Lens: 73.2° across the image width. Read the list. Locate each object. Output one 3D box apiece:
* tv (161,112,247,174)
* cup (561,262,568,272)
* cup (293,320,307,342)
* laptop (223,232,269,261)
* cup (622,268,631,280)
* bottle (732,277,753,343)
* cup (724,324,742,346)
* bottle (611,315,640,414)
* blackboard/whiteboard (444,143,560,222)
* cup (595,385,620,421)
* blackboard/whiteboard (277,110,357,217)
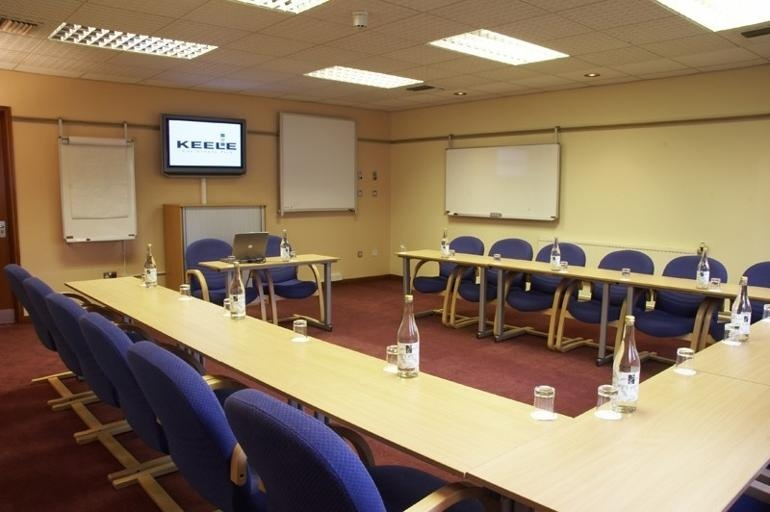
[{"bbox_3d":[-2.690,-1.636,7.576,1.109,0.688,0.106,-2,2,-41],"label":"tv"},{"bbox_3d":[2.033,0.126,5.845,0.105,0.108,0.100,-1,1,0],"label":"cup"},{"bbox_3d":[-0.578,0.501,3.569,0.097,0.139,0.169,-1,8,-11],"label":"cup"},{"bbox_3d":[-1.640,-0.114,6.250,0.449,0.311,0.347,0,7,-38],"label":"laptop"},{"bbox_3d":[2.537,0.198,5.424,0.124,0.168,0.114,1,-2,0],"label":"cup"},{"bbox_3d":[2.544,0.357,3.664,0.118,0.415,0.402,7,10,35],"label":"bottle"},{"bbox_3d":[2.382,0.534,3.521,0.115,0.119,0.138,3,8,18],"label":"cup"},{"bbox_3d":[1.296,0.549,2.741,0.136,0.478,0.278,5,10,26],"label":"bottle"},{"bbox_3d":[1.934,-1.156,8.183,1.432,0.813,0.142,5,9,40],"label":"blackboard/whiteboard"},{"bbox_3d":[1.158,0.750,2.694,0.173,0.153,0.156,1,6,20],"label":"cup"},{"bbox_3d":[-1.186,-1.574,8.734,2.009,1.989,0.284,-3,5,-37],"label":"blackboard/whiteboard"}]
